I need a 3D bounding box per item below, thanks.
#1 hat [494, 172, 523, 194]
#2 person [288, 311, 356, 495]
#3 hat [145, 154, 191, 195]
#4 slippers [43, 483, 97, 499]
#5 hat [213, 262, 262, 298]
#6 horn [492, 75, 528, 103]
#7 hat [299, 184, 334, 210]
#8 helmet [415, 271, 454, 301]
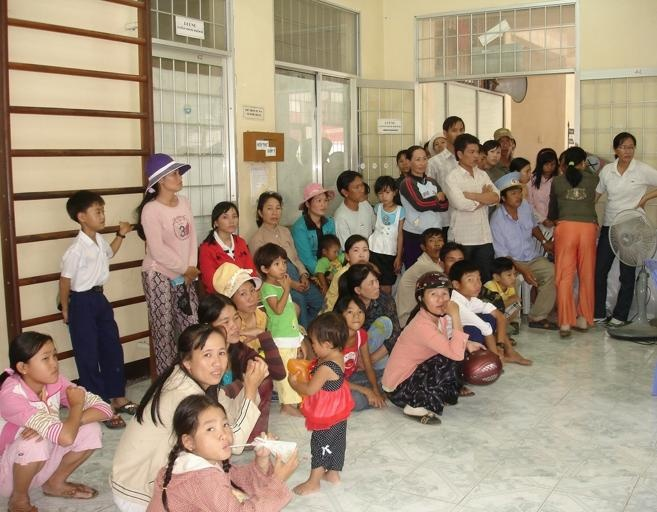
[{"bbox_3d":[1.666,-0.689,4.909,0.182,0.088,0.209,-5,-9,-46],"label":"hat"},{"bbox_3d":[-0.039,0.659,2.470,0.300,0.748,0.335,-1,7,-5],"label":"person"},{"bbox_3d":[-1.077,-0.560,3.407,0.285,0.159,0.278,-33,5,-7],"label":"hat"},{"bbox_3d":[-1.170,1.044,2.387,0.230,0.059,0.093,0,9,0],"label":"slippers"},{"bbox_3d":[-0.537,0.169,2.995,0.234,0.135,0.176,16,34,40],"label":"hat"},{"bbox_3d":[3.347,-3.083,9.737,0.335,0.443,0.792,5,9,42],"label":"horn"},{"bbox_3d":[-0.138,-0.556,4.702,0.231,0.127,0.236,-26,-7,-18],"label":"hat"},{"bbox_3d":[0.622,0.181,3.131,0.150,0.168,0.202,0,-7,-20],"label":"helmet"}]
